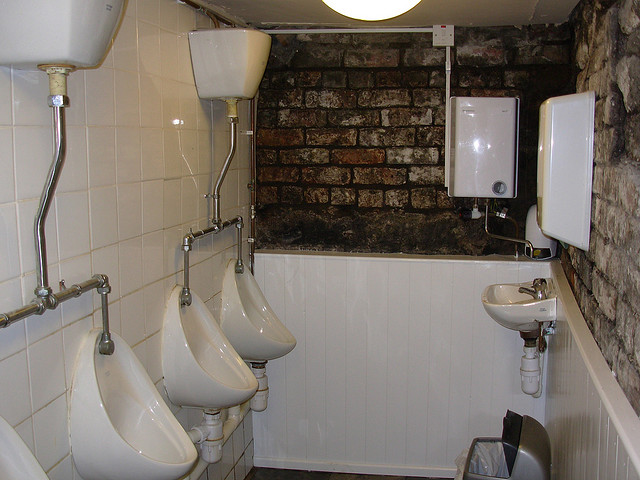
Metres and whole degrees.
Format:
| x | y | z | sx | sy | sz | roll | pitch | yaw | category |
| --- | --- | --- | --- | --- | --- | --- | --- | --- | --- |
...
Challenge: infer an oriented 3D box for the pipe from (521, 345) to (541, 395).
| x | y | z | sx | sy | sz | roll | pitch | yaw | category |
| --- | --- | --- | --- | --- | --- | --- | --- | --- | --- |
| 1.268 | 0.756 | 3.117 | 0.157 | 0.287 | 0.095 | -4 | 8 | -22 | pipe |

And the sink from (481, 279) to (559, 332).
| x | y | z | sx | sy | sz | roll | pitch | yaw | category |
| --- | --- | --- | --- | --- | --- | --- | --- | --- | --- |
| 1.113 | 0.387 | 2.960 | 0.380 | 0.288 | 0.375 | 2 | 9 | 18 | sink |

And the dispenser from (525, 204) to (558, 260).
| x | y | z | sx | sy | sz | roll | pitch | yaw | category |
| --- | --- | --- | --- | --- | --- | --- | --- | --- | --- |
| 1.195 | -0.033 | 2.829 | 0.133 | 0.289 | 0.153 | -8 | 18 | -29 | dispenser |

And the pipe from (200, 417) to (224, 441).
| x | y | z | sx | sy | sz | roll | pitch | yaw | category |
| --- | --- | --- | --- | --- | --- | --- | --- | --- | --- |
| -0.523 | 0.929 | 2.592 | 0.092 | 0.118 | 0.096 | 1 | -1 | 36 | pipe |

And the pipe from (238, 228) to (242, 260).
| x | y | z | sx | sy | sz | roll | pitch | yaw | category |
| --- | --- | --- | --- | --- | --- | --- | --- | --- | --- |
| -0.464 | 0.024 | 3.052 | 0.017 | 0.193 | 0.070 | -3 | 8 | -14 | pipe |

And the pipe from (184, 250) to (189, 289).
| x | y | z | sx | sy | sz | roll | pitch | yaw | category |
| --- | --- | --- | --- | --- | --- | --- | --- | --- | --- |
| -0.613 | 0.140 | 2.422 | 0.019 | 0.183 | 0.047 | -3 | 8 | -15 | pipe |

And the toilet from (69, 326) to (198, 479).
| x | y | z | sx | sy | sz | roll | pitch | yaw | category |
| --- | --- | --- | --- | --- | --- | --- | --- | --- | --- |
| -0.696 | 0.572 | 2.190 | 0.475 | 0.787 | 0.451 | -1 | -2 | 13 | toilet |

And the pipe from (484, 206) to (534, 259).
| x | y | z | sx | sy | sz | roll | pitch | yaw | category |
| --- | --- | --- | --- | --- | --- | --- | --- | --- | --- |
| 1.141 | -0.021 | 3.210 | 0.194 | 0.348 | 0.223 | -4 | 15 | -33 | pipe |

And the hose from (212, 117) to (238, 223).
| x | y | z | sx | sy | sz | roll | pitch | yaw | category |
| --- | --- | --- | --- | --- | --- | --- | --- | --- | --- |
| -0.493 | -0.351 | 2.739 | 0.096 | 0.537 | 0.166 | 7 | 12 | 13 | hose |

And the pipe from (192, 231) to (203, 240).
| x | y | z | sx | sy | sz | roll | pitch | yaw | category |
| --- | --- | --- | --- | --- | --- | --- | --- | --- | --- |
| -0.592 | -0.024 | 2.544 | 0.037 | 0.037 | 0.103 | -2 | 3 | 5 | pipe |

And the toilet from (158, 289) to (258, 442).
| x | y | z | sx | sy | sz | roll | pitch | yaw | category |
| --- | --- | --- | --- | --- | --- | --- | --- | --- | --- |
| -0.515 | 0.662 | 2.539 | 0.396 | 0.808 | 0.446 | 1 | 5 | -2 | toilet |

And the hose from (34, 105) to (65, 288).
| x | y | z | sx | sy | sz | roll | pitch | yaw | category |
| --- | --- | --- | --- | --- | --- | --- | --- | --- | --- |
| -0.829 | -0.135 | 1.617 | 0.040 | 0.492 | 0.145 | 3 | 13 | 3 | hose |

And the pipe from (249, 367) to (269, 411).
| x | y | z | sx | sy | sz | roll | pitch | yaw | category |
| --- | --- | --- | --- | --- | --- | --- | --- | --- | --- |
| -0.385 | 0.928 | 3.305 | 0.134 | 0.304 | 0.148 | 0 | 0 | 21 | pipe |

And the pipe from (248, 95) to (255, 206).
| x | y | z | sx | sy | sz | roll | pitch | yaw | category |
| --- | --- | --- | --- | --- | --- | --- | --- | --- | --- |
| -0.429 | -0.545 | 3.318 | 0.054 | 0.649 | 0.055 | -2 | 7 | -5 | pipe |
